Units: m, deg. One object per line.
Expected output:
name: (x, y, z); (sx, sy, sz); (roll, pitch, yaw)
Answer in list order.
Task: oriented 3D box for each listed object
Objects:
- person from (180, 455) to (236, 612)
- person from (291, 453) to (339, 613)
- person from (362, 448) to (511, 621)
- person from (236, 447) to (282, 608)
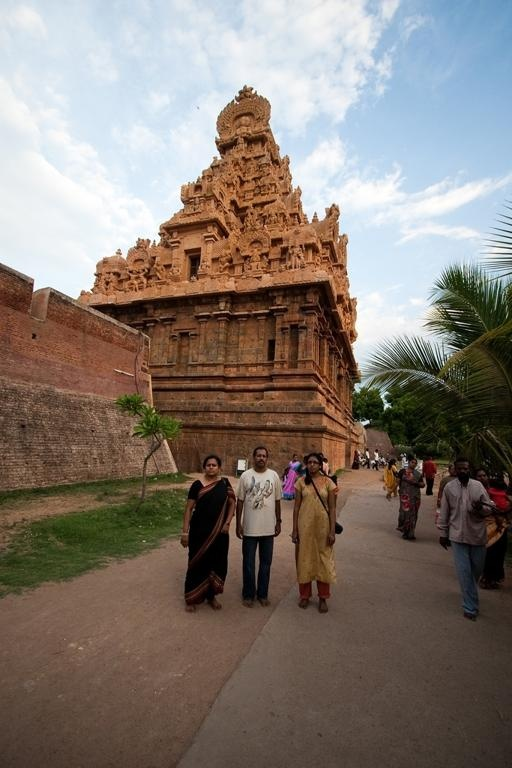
person: (-0.398, 1.275, 3.431); (0.418, 1.275, 0.236); (4, -10, -15)
person: (0.530, 1.298, 3.552); (0.393, 1.343, 0.315); (0, -9, 11)
person: (1.941, 1.388, 3.678); (0.428, 1.353, 0.473); (6, -10, -21)
person: (0.015, 1.277, 3.622); (0.415, 1.383, 0.270); (2, -9, -2)
